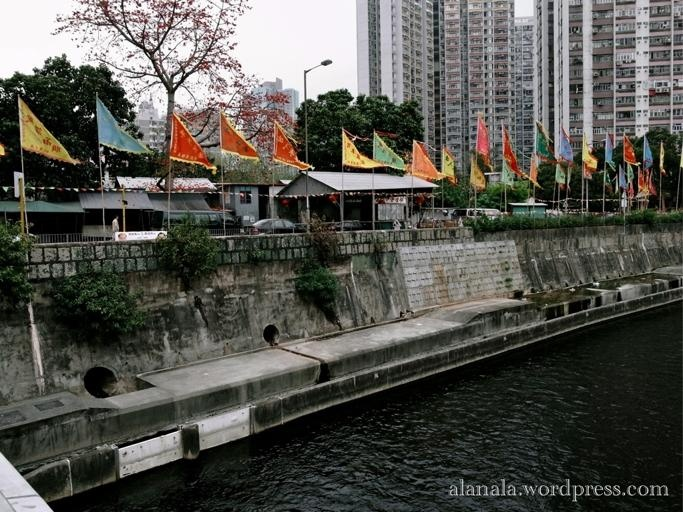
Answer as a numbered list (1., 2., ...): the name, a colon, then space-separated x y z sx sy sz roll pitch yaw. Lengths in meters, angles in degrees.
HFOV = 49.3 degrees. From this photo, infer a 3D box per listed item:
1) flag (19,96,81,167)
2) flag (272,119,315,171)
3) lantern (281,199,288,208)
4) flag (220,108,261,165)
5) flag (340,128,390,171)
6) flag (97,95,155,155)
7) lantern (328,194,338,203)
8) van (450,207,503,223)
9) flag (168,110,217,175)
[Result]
1. flag: -11.284 -4.707 28.633 2.283 0.166 2.592 14 -43 -16
2. flag: -2.220 -4.958 33.811 1.934 0.082 2.377 12 -46 0
3. lantern: -3.307 -3.092 43.364 0.437 0.557 1.628 2 8 -4
4. flag: -4.590 -5.221 32.809 1.868 2.358 0.188 15 -38 -26
5. flag: 1.043 -5.211 36.102 2.084 2.274 0.249 4 -20 -17
6. flag: -8.810 -5.158 29.748 2.098 0.147 2.359 15 -51 -7
7. lantern: -0.444 -3.106 40.674 0.459 0.539 0.342 3 7 -30
8. van: 9.177 -2.868 50.863 2.984 1.745 1.826 -2 3 4
9. flag: -6.292 -4.785 31.411 1.982 2.487 0.214 10 -23 -30
